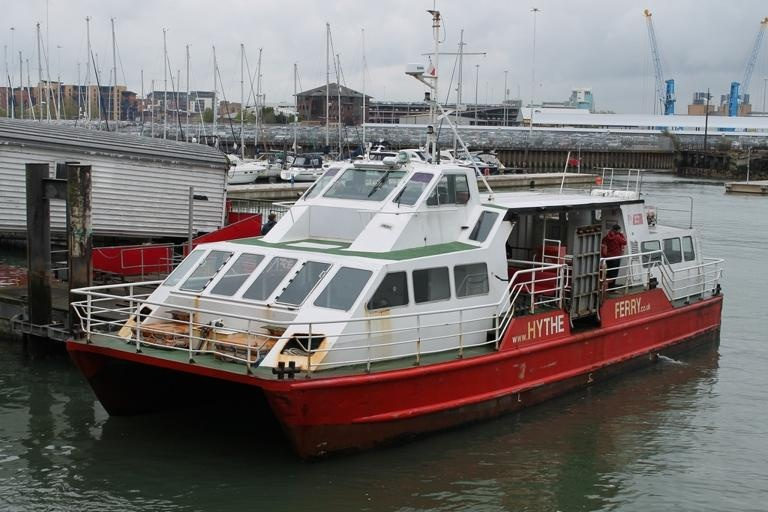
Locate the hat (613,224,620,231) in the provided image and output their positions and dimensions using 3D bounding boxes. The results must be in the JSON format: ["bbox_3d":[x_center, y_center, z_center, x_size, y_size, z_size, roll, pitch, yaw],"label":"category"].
[{"bbox_3d":[5.814,-0.694,25.450,0.157,0.153,0.176,6,-12,24],"label":"hat"}]
